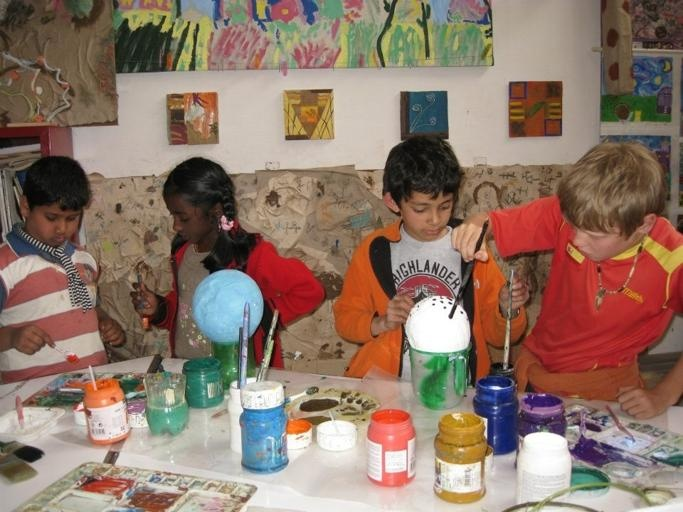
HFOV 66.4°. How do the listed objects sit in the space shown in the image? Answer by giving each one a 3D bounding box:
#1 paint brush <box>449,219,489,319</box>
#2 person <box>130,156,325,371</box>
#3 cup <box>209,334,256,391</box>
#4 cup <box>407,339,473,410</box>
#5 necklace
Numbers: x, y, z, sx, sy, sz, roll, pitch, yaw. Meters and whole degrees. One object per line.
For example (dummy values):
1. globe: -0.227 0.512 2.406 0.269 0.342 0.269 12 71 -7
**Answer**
1. paint brush: 0.426 0.052 1.736 0.039 0.386 0.018 24 -13 -3
2. person: -0.453 0.016 2.029 0.707 0.801 0.340 2 9 19
3. cup: -0.332 0.307 1.549 0.150 0.214 0.139 -1 0 0
4. cup: 0.270 0.334 1.434 0.141 0.168 0.186 -2 3 -16
5. necklace: 0.835 0.060 1.650 0.107 0.212 0.012 -14 27 25
